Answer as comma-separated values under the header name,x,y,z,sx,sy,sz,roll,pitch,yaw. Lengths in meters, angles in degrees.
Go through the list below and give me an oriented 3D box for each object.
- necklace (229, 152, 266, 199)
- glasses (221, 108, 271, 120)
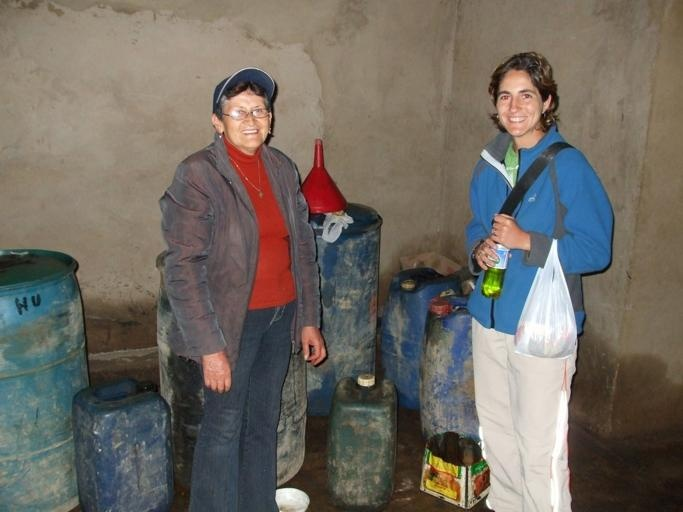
name,x,y,z,sx,sy,sz,roll,pitch,yaw
necklace,-0.457,-0.409,3.275,0.055,0.229,0.159,-21,-1,32
glasses,-0.453,-0.673,3.206,0.203,0.057,0.031,-1,6,-12
